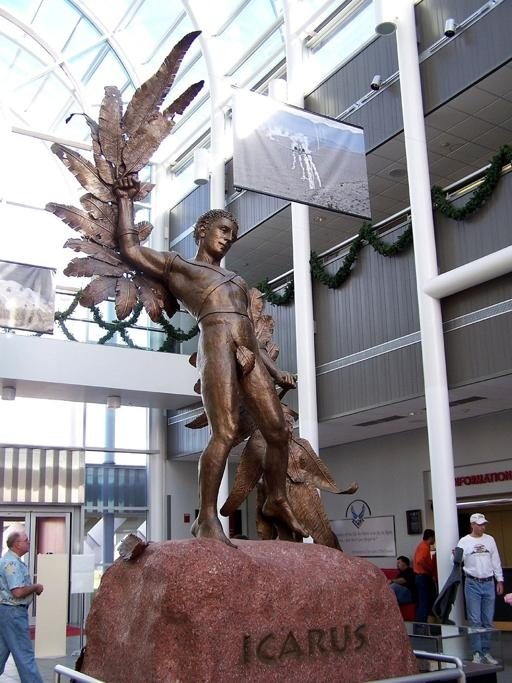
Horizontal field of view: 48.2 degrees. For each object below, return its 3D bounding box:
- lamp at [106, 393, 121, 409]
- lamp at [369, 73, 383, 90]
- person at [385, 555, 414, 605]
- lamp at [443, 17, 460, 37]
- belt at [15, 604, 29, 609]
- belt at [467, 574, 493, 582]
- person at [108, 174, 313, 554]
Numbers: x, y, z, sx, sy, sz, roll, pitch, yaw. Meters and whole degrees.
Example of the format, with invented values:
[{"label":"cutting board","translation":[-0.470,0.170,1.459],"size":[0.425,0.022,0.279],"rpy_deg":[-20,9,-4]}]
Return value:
[{"label":"lamp","translation":[-3.223,1.334,12.777],"size":[0.313,0.275,0.310],"rpy_deg":[0,0,-39]},{"label":"lamp","translation":[1.987,-4.269,9.477],"size":[0.268,0.229,0.406],"rpy_deg":[-2,31,12]},{"label":"person","translation":[2.317,3.862,9.170],"size":[0.490,0.780,0.367],"rpy_deg":[-1,-9,-4]},{"label":"lamp","translation":[2.819,-4.567,8.321],"size":[0.195,0.320,0.208],"rpy_deg":[-9,-14,19]},{"label":"belt","translation":[-1.772,1.995,4.308],"size":[0.067,0.029,0.078],"rpy_deg":[12,-17,-36]},{"label":"belt","translation":[2.402,2.552,6.173],"size":[0.265,0.073,0.134],"rpy_deg":[-9,-13,19]},{"label":"person","translation":[-0.159,0.067,2.426],"size":[0.482,1.590,0.840],"rpy_deg":[-14,-16,33]}]
